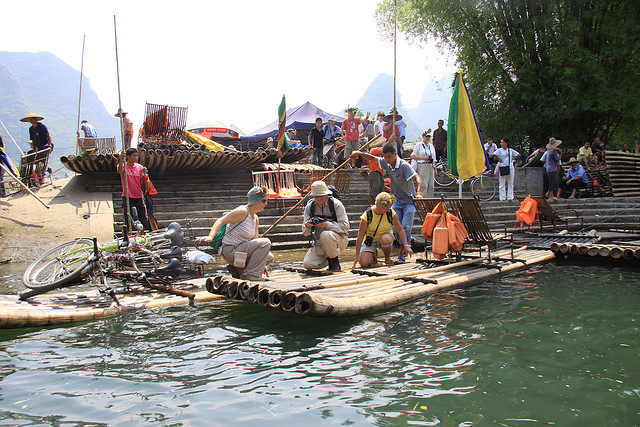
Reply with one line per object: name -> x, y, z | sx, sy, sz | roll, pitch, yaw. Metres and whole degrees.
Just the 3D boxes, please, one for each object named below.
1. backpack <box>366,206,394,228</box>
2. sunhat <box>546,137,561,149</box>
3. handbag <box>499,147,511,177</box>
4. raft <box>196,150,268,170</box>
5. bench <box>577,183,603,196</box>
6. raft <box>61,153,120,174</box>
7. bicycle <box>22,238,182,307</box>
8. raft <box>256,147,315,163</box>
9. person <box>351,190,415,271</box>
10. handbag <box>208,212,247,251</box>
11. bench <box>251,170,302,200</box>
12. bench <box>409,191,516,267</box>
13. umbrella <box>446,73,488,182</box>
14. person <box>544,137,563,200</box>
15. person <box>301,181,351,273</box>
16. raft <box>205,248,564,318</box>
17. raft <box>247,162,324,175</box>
backpack -> 1.114, 0.036, 9.742 | 0.544, 0.433, 0.330 | -6, 16, -8
sunhat -> 7.841, -2.359, 16.629 | 0.352, 0.410, 0.713 | -1, 1, 21
handbag -> 6.011, -1.620, 16.087 | 0.373, 0.863, 0.422 | -2, 1, 25
raft -> -3.167, -1.851, 17.232 | 1.180, 0.325, 0.492 | -3, -38, 5
bench -> 9.862, -0.812, 18.083 | 0.862, 0.520, 0.187 | 6, -19, -6
raft -> -6.998, -1.519, 15.068 | 1.645, 0.520, 1.493 | -2, 1, -15
bicycle -> -3.322, 1.006, 7.956 | 1.581, 0.344, 1.357 | -7, 27, -30
raft -> -1.363, -2.162, 18.434 | 1.545, 0.277, 1.848 | -1, 2, -1
person -> 1.127, 0.319, 9.611 | 1.097, 1.410, 0.728 | -2, 1, -19
handbag -> -1.539, 0.362, 8.747 | 0.780, 0.615, 0.478 | 1, 12, -2
bench -> -1.351, -0.862, 15.346 | 1.455, 0.816, 0.709 | -3, 12, -25
bench -> 3.350, 0.186, 10.524 | 1.649, 1.480, 2.773 | 3, 4, 41
umbrella -> 3.230, -1.861, 10.963 | 0.833, 2.159, 0.510 | -2, 1, 21
person -> 7.930, -1.487, 16.880 | 0.498, 2.039, 1.193 | -2, 1, 23
person -> 0.066, 0.373, 9.181 | 0.760, 0.974, 0.482 | -1, 1, 31
raft -> 1.589, 1.226, 8.717 | 6.160, 0.366, 1.786 | 0, 2, -43
raft -> -1.021, -1.454, 16.123 | 1.350, 0.476, 2.150 | -2, 1, -21
